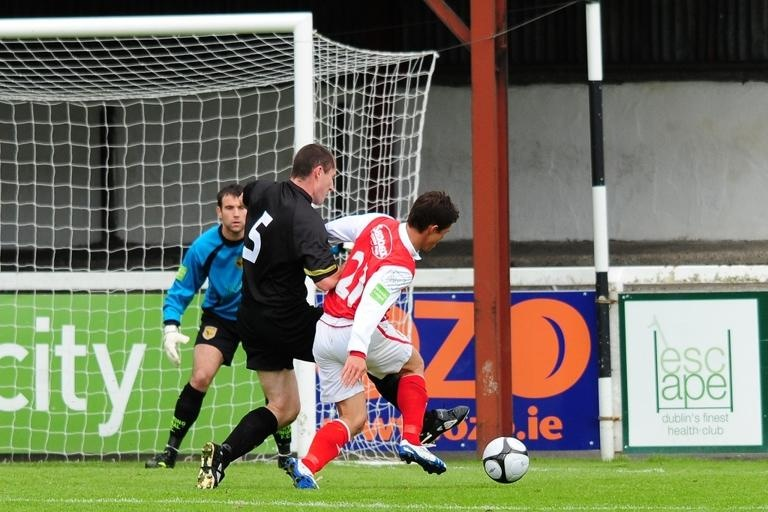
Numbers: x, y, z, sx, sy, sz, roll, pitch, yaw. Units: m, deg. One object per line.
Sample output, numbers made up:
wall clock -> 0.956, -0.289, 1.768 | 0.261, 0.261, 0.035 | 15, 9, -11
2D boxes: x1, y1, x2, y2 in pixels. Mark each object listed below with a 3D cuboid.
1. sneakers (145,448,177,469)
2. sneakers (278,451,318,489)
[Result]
sneakers -> -1.955, 1.758, 11.067 | 0.269, 0.180, 0.242 | 0, -6, -1
sneakers -> -0.696, 1.742, 10.236 | 0.113, 0.312, 0.142 | -42, -5, 38
